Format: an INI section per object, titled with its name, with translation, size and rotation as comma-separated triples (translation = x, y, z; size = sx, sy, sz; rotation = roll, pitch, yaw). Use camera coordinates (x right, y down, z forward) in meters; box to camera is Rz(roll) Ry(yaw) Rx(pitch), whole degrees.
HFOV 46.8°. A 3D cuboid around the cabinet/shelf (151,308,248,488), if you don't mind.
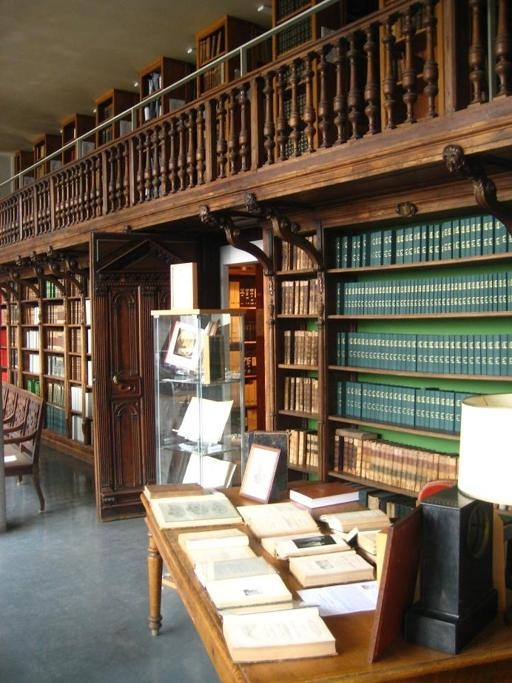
[cabinet/shelf]
translation = -0.324, 0.387, 3.832
size = 0.561, 1.209, 0.929
rotation = -6, 5, -21
